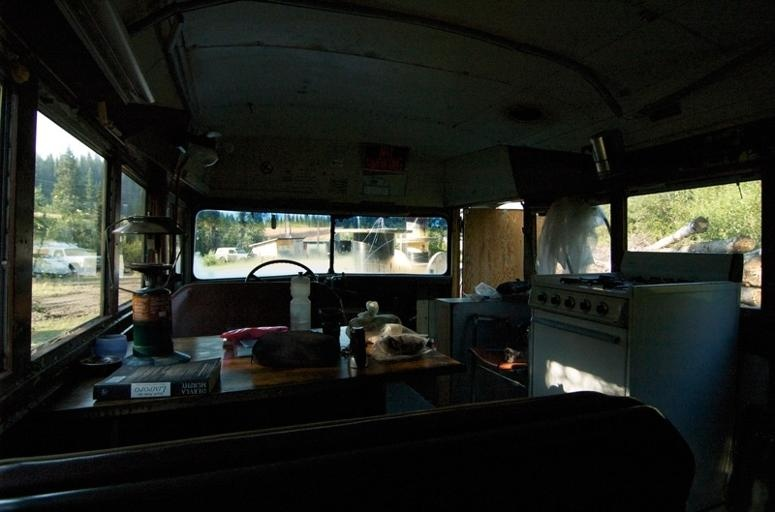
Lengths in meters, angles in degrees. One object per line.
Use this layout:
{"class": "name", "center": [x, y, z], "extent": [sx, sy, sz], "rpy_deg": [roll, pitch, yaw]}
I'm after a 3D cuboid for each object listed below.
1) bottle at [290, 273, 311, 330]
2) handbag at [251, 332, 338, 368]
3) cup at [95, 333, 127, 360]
{"class": "bottle", "center": [-0.502, 0.269, 3.184], "extent": [0.109, 0.303, 0.245], "rpy_deg": [2, 2, -10]}
{"class": "handbag", "center": [-0.484, 0.471, 2.989], "extent": [0.444, 0.131, 0.329], "rpy_deg": [4, 16, 0]}
{"class": "cup", "center": [-1.400, 0.453, 2.806], "extent": [0.130, 0.099, 0.125], "rpy_deg": [1, -3, 0]}
